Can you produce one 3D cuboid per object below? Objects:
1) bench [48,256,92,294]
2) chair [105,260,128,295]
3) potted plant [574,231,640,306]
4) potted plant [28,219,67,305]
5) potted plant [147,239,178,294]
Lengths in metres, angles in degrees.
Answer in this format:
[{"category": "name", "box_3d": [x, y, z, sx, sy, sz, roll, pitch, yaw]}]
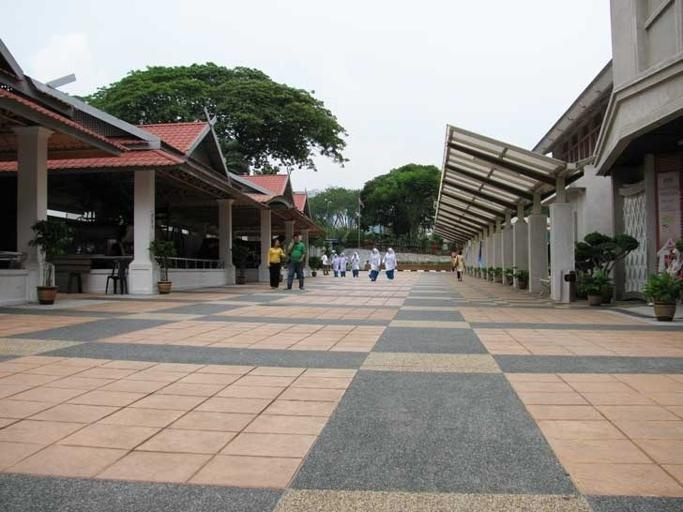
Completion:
[{"category": "bench", "box_3d": [-8.884, 0.591, 16.200, 1.443, 1.195, 0.725, 0, -2, -6]}, {"category": "chair", "box_3d": [-7.445, 0.692, 16.508, 0.950, 1.085, 0.608, 0, 1, 37]}, {"category": "potted plant", "box_3d": [7.424, 0.303, 14.123, 1.371, 1.957, 2.202, 0, 1, 23]}, {"category": "potted plant", "box_3d": [-7.771, 0.113, 13.240, 0.897, 2.163, 2.135, 0, 1, -31]}, {"category": "potted plant", "box_3d": [-6.087, 0.352, 16.921, 0.770, 1.792, 1.829, 0, 1, -20]}]
